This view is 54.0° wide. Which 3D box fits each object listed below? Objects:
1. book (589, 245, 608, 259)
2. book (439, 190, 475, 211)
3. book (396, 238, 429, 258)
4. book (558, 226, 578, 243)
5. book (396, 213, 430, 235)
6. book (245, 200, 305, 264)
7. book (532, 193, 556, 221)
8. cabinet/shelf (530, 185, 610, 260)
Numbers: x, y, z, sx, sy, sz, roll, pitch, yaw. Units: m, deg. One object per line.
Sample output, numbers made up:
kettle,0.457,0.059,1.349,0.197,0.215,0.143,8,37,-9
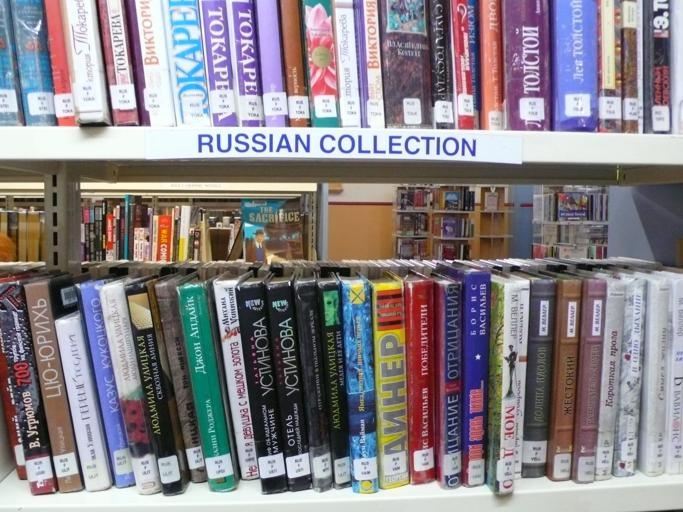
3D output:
book,1.683,-0.022,4.389,0.074,0.101,0.103,1,1,2
book,1.379,-0.621,7.799,0.316,0.316,0.237,0,2,2
book,0.898,-0.093,8.477,0.263,0.359,0.365,0,5,16
book,2.320,-0.202,6.904,0.152,0.208,0.209,0,0,-37
book,0.910,-0.397,8.424,0.386,0.381,0.274,0,10,0
book,-0.271,-0.100,2.931,0.313,0.277,0.249,-2,4,-8
book,2.197,-0.522,7.252,0.224,0.301,0.310,-1,6,-1
cabinet/shelf,2.204,-0.323,6.387,0.720,0.718,0.523,-1,4,-5
